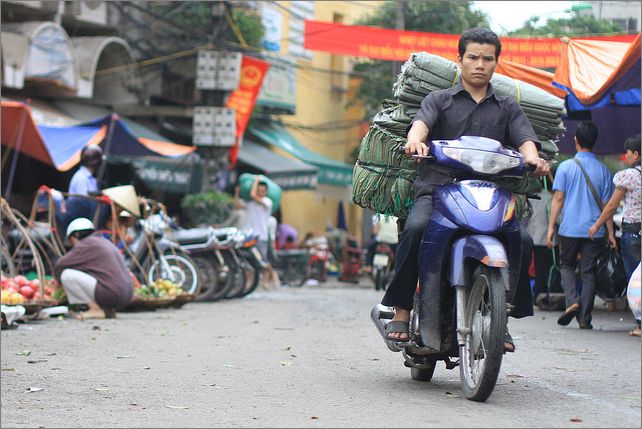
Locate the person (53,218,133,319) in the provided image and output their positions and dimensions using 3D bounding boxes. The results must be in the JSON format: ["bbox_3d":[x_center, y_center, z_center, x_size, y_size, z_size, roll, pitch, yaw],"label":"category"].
[{"bbox_3d":[-3.282,0.774,17.113,1.066,1.478,1.064,-2,-6,1],"label":"person"}]

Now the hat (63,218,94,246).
[{"bbox_3d":[-3.542,0.220,16.996,0.302,0.220,0.419,-1,-4,-33],"label":"hat"}]

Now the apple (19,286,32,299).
[{"bbox_3d":[-4.117,1.080,16.405,0.165,0.163,0.163,3,4,12],"label":"apple"}]

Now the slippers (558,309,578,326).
[{"bbox_3d":[3.352,1.370,15.793,0.130,0.127,0.324,18,-39,-7],"label":"slippers"}]

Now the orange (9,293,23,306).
[{"bbox_3d":[-4.192,1.166,16.106,0.147,0.140,0.146,3,4,6],"label":"orange"}]

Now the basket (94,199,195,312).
[{"bbox_3d":[-3.069,0.694,18.170,1.962,1.254,1.125,-1,-2,7],"label":"basket"}]

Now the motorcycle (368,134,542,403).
[{"bbox_3d":[1.509,0.575,12.588,1.246,2.815,0.651,4,8,23],"label":"motorcycle"}]

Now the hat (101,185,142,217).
[{"bbox_3d":[-2.937,-0.179,17.225,0.552,0.457,0.306,-2,7,-23],"label":"hat"}]

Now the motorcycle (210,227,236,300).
[{"bbox_3d":[-1.536,0.793,19.225,0.239,0.941,1.000,3,-6,-13],"label":"motorcycle"}]

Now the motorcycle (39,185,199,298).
[{"bbox_3d":[-3.073,0.411,17.993,2.205,1.401,1.463,0,-4,2],"label":"motorcycle"}]
